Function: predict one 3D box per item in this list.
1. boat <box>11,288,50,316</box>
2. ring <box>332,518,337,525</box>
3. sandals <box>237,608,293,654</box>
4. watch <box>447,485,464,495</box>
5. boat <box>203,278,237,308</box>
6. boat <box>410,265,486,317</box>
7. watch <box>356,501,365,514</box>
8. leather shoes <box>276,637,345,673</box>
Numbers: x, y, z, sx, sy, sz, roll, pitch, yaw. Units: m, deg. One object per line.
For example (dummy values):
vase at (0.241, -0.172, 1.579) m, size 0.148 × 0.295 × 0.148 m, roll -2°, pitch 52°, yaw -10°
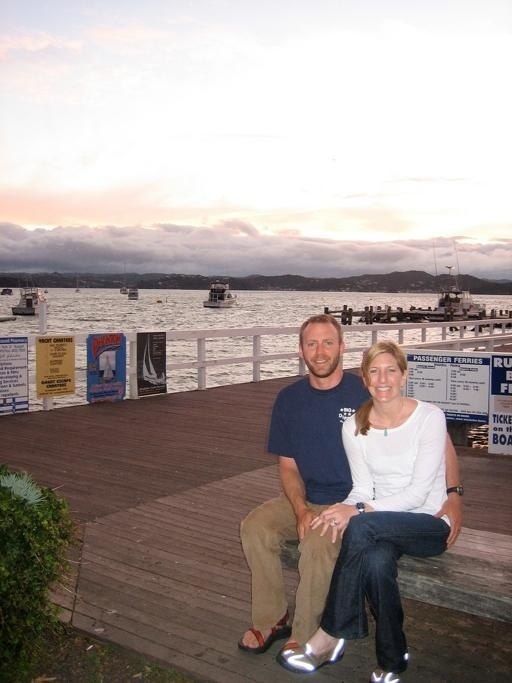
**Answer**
boat at (-40.863, -6.840, 97.025) m, size 3.396 × 4.853 × 7.828 m, roll -1°, pitch 2°, yaw -36°
ring at (0.341, 0.795, 2.458) m, size 0.015 × 0.018 × 0.010 m, roll 13°, pitch -5°, yaw -34°
sandals at (0.038, 1.365, 2.645) m, size 0.103 × 0.101 × 0.283 m, roll 0°, pitch -5°, yaw 39°
watch at (0.968, 0.714, 2.688) m, size 0.059 × 0.030 × 0.052 m, roll 0°, pitch 3°, yaw -2°
boat at (-9.297, -10.705, 129.299) m, size 4.370 × 5.877 × 8.434 m, roll 2°, pitch 2°, yaw 25°
boat at (29.851, -5.791, 85.207) m, size 9.811 × 5.178 × 11.319 m, roll 1°, pitch 2°, yaw 18°
watch at (0.467, 0.743, 2.509) m, size 0.033 × 0.037 × 0.041 m, roll 1°, pitch -6°, yaw -7°
leather shoes at (0.232, 1.338, 2.426) m, size 0.250 × 0.086 × 0.132 m, roll 4°, pitch -1°, yaw -22°
